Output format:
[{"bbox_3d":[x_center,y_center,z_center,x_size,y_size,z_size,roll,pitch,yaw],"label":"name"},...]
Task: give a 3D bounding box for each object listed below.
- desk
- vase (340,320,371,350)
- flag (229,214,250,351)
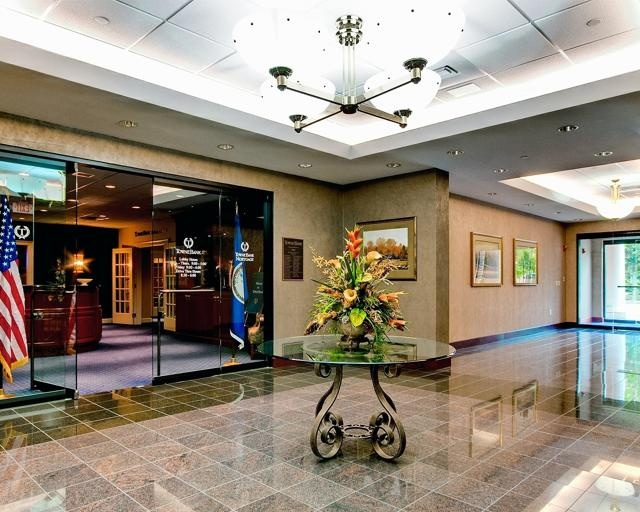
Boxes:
[{"bbox_3d":[0.344,1.463,4.479,1.914,0.971,1.927,-11,-21,33],"label":"desk"},{"bbox_3d":[0.337,0.763,4.259,0.276,0.172,0.255,0,-3,8],"label":"vase"},{"bbox_3d":[-1.408,0.440,7.747,0.287,2.314,0.164,0,0,-11],"label":"flag"}]
